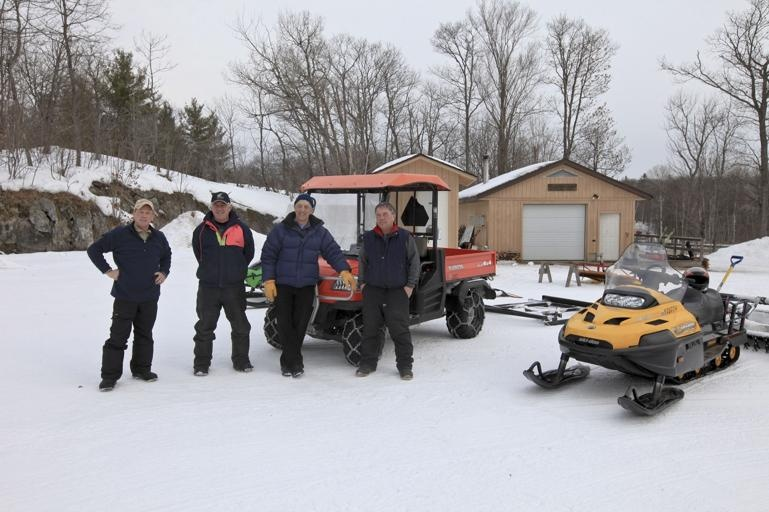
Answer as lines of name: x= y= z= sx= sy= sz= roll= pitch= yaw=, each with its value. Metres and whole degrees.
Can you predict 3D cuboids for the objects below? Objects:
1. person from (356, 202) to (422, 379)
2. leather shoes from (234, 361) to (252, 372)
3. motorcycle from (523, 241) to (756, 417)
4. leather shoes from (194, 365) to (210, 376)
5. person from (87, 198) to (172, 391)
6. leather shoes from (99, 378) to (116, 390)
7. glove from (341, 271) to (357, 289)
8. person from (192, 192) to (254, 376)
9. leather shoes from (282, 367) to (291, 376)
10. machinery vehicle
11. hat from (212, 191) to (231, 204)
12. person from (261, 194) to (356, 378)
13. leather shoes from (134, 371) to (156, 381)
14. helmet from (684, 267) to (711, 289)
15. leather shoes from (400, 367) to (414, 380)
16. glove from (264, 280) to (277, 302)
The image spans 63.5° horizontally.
person: x=0.060 y=0.498 z=8.978 sx=0.891 sy=2.444 sz=0.769 roll=1 pitch=10 yaw=-2
leather shoes: x=-2.054 y=1.622 z=9.049 sx=0.220 sy=0.100 sz=0.129 roll=4 pitch=-4 yaw=3
motorcycle: x=3.898 y=0.973 z=9.056 sx=3.858 sy=1.809 sz=1.614 roll=-2 pitch=1 yaw=-43
leather shoes: x=-2.602 y=1.641 z=8.807 sx=0.217 sy=0.120 sz=0.152 roll=-2 pitch=10 yaw=-19
person: x=-3.455 y=0.481 z=8.522 sx=1.026 sy=2.475 sz=0.754 roll=-5 pitch=11 yaw=-30
leather shoes: x=-3.674 y=1.718 z=8.266 sx=0.228 sy=0.124 sz=0.210 roll=-5 pitch=12 yaw=-32
glove: x=-0.523 y=0.360 z=9.041 sx=0.244 sy=0.309 sz=0.425 roll=0 pitch=10 yaw=-4
person: x=-2.339 y=0.389 z=8.968 sx=0.902 sy=2.546 sz=0.646 roll=-2 pitch=10 yaw=-18
leather shoes: x=-1.406 y=1.668 z=8.865 sx=0.149 sy=0.113 sz=0.064 roll=5 pitch=11 yaw=22
machinery vehicle: x=0.042 y=0.096 z=11.081 sx=2.544 sy=2.907 sz=4.651 roll=3 pitch=5 yaw=36
hat: x=-2.361 y=-0.853 z=8.968 sx=0.223 sy=0.183 sz=0.327 roll=0 pitch=-9 yaw=-2
person: x=-1.186 y=0.410 z=9.008 sx=1.162 sy=2.564 sz=0.718 roll=-1 pitch=10 yaw=-13
leather shoes: x=-3.287 y=1.664 z=8.607 sx=0.345 sy=0.145 sz=0.131 roll=-2 pitch=4 yaw=14
helmet: x=4.466 y=0.329 z=8.937 sx=0.267 sy=0.303 sz=0.362 roll=1 pitch=9 yaw=7
leather shoes: x=0.310 y=1.689 z=8.851 sx=0.196 sy=0.137 sz=0.161 roll=2 pitch=10 yaw=2
glove: x=-1.619 y=0.506 z=8.805 sx=0.178 sy=0.305 sz=0.162 roll=-2 pitch=10 yaw=-14
